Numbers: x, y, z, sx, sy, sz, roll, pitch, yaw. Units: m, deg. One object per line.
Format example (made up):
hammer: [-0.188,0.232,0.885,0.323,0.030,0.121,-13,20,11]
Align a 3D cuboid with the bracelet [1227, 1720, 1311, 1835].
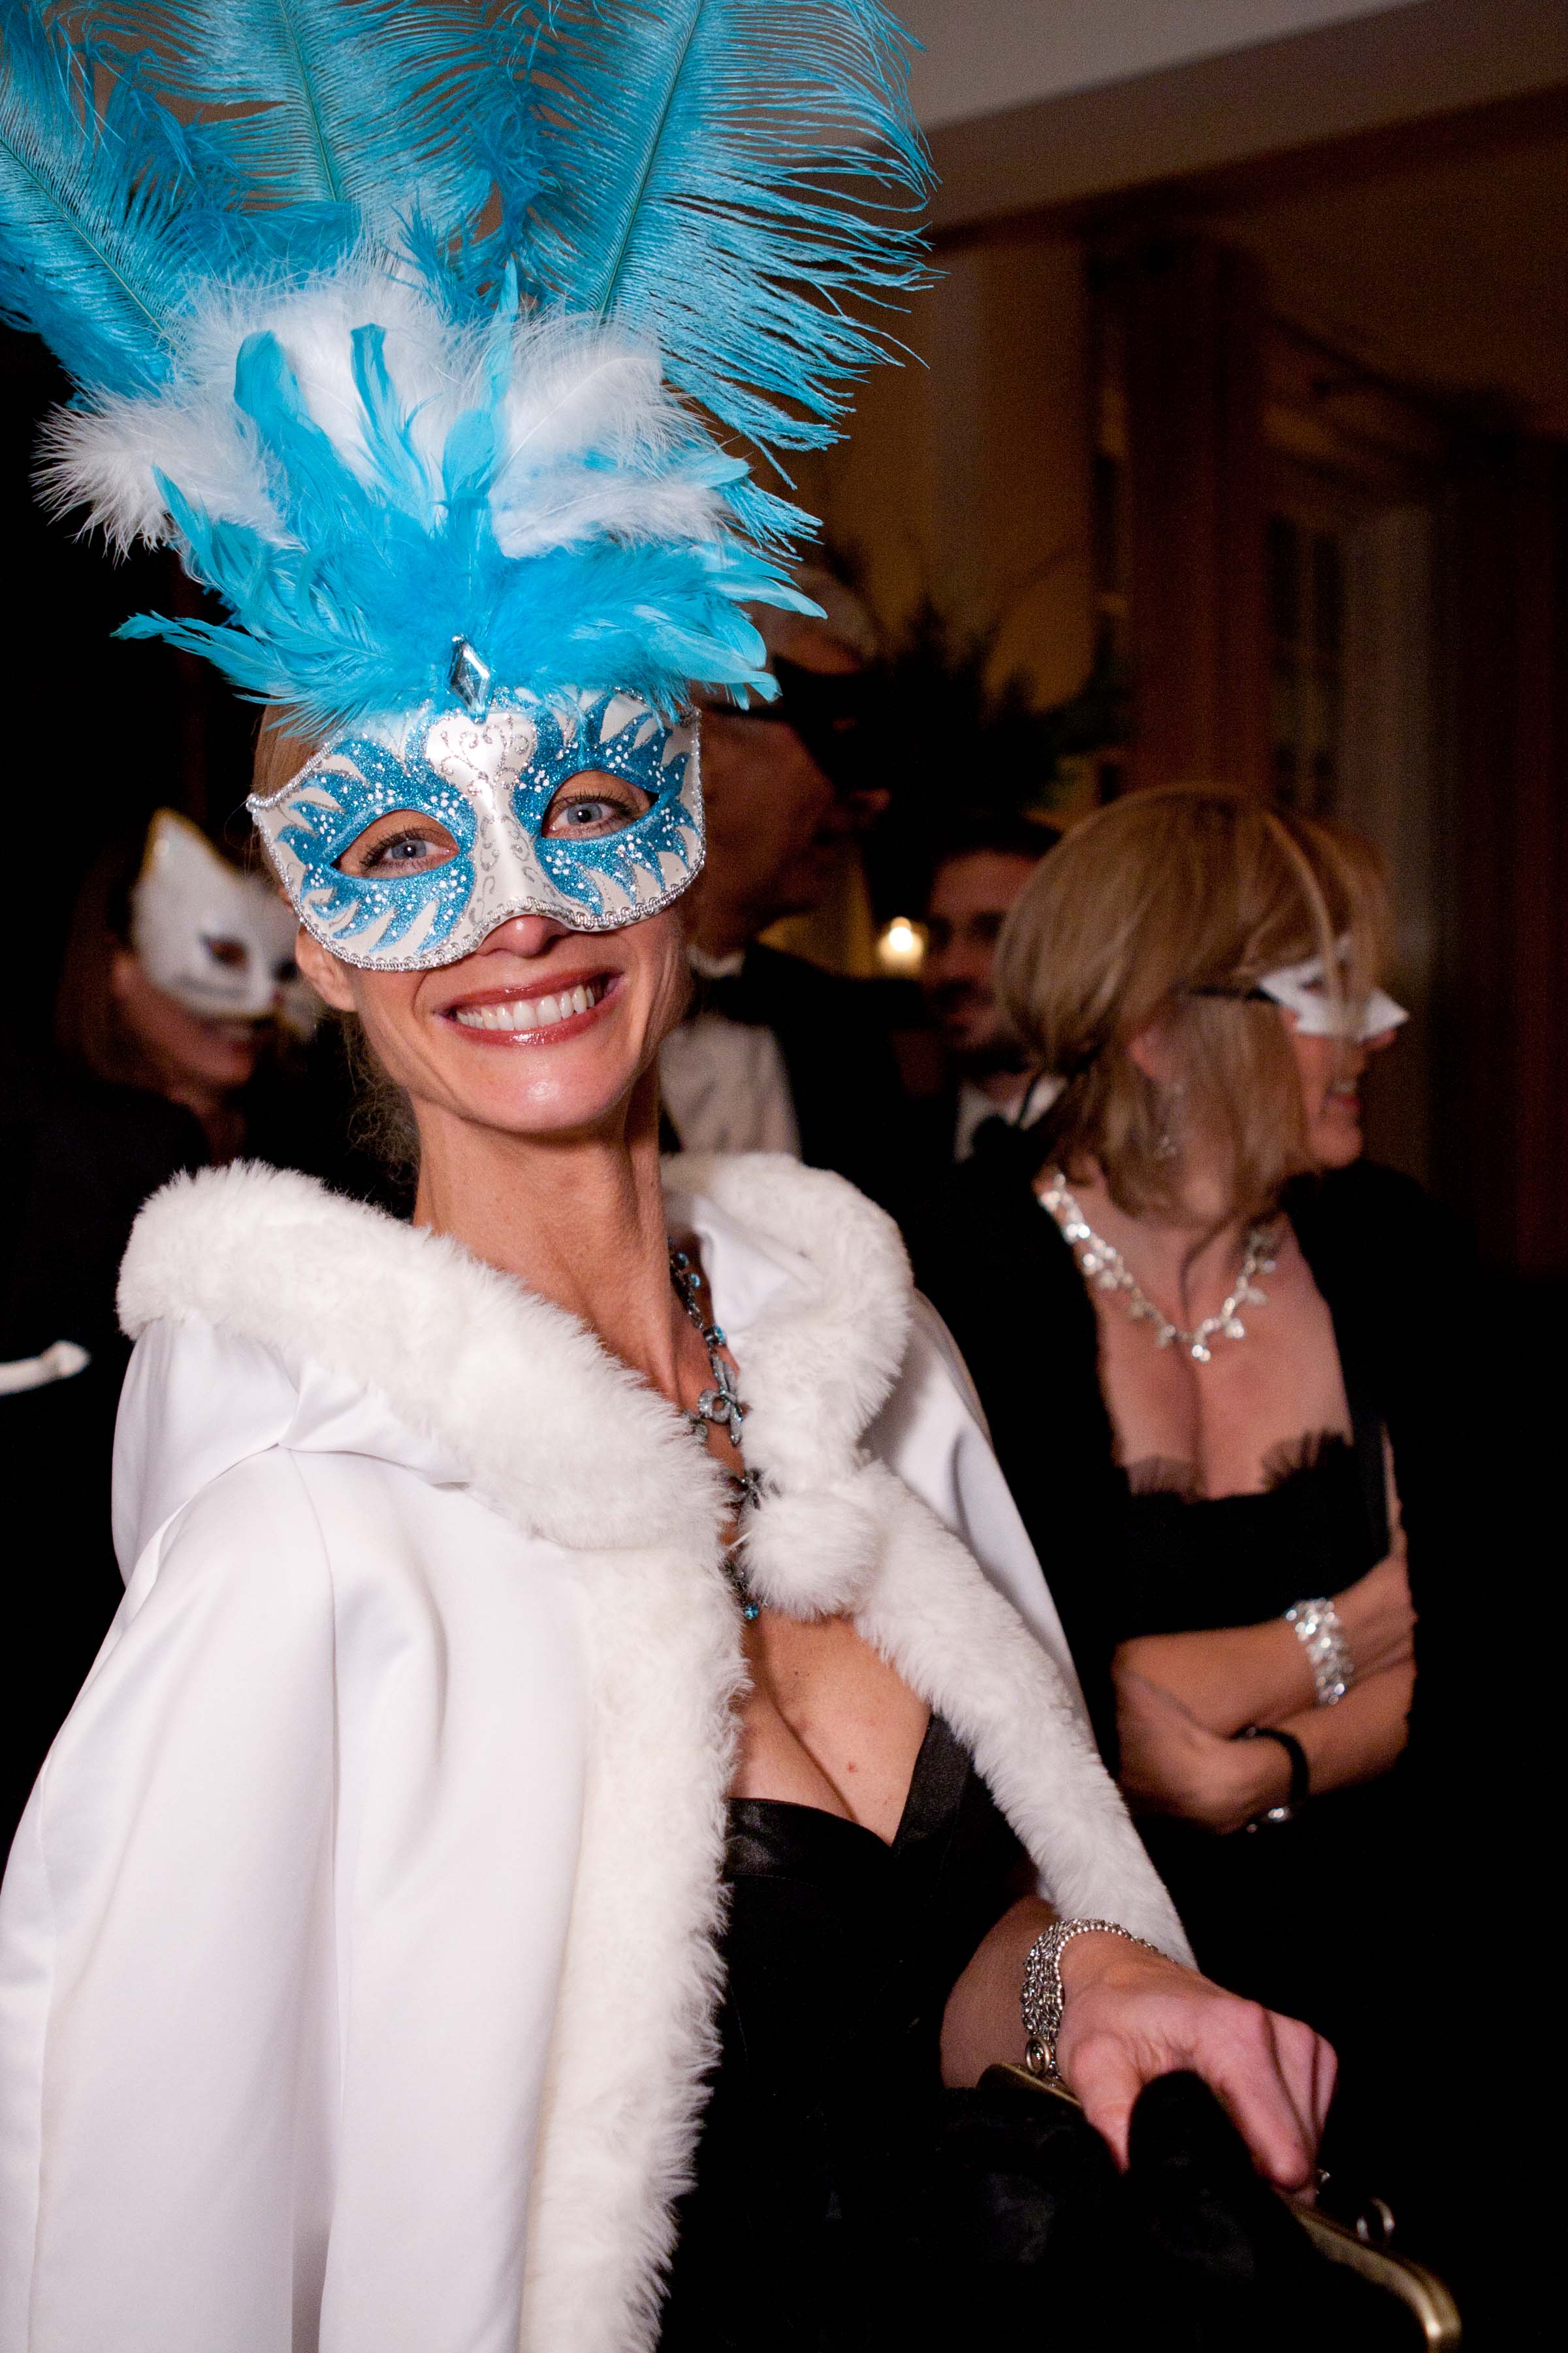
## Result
bracelet: [0.376,0.472,1.768,0.070,0.069,0.027,-11,-3,17]

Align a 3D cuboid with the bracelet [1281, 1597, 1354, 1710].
bracelet: [0.420,0.371,1.765,0.026,0.072,0.062,-6,38,1]

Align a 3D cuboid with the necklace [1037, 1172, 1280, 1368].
necklace: [0.285,0.072,1.807,0.154,0.131,0.030,53,24,9]

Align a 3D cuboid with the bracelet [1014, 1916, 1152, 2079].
bracelet: [0.188,0.538,1.471,0.066,0.079,0.035,8,-7,-19]

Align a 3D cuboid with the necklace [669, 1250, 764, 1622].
necklace: [-0.049,0.174,1.578,0.051,0.260,0.007,6,-26,-33]
